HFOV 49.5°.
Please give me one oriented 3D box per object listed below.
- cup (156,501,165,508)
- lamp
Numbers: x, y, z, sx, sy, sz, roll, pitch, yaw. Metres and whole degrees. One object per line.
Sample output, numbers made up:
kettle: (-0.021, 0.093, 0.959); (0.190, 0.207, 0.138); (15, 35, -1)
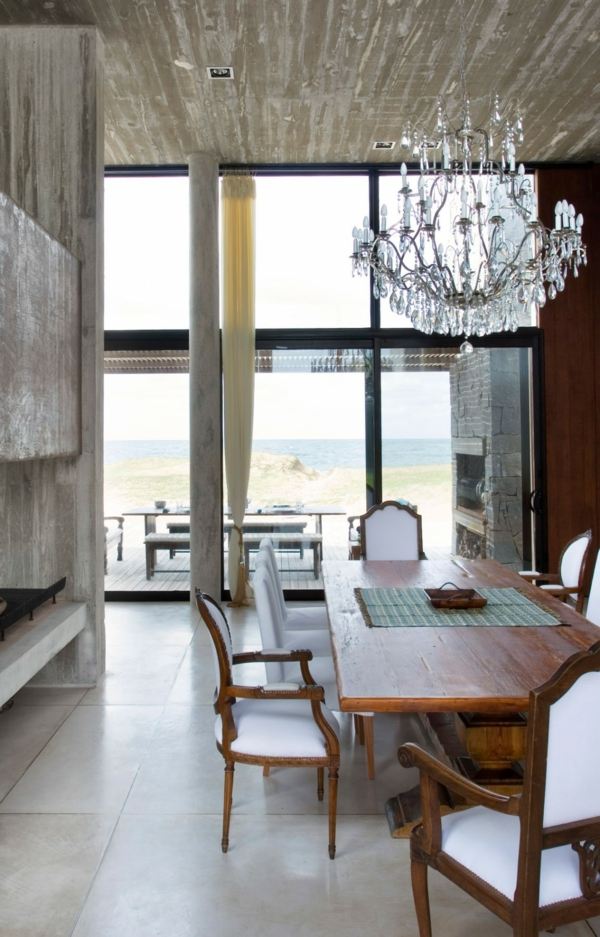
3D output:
cup: (-1.234, 0.305, 5.701); (0.053, 0.056, 0.062); (0, -3, -8)
lamp: (1.144, -1.689, 4.115); (1.230, 2.094, 1.412); (-3, 7, -17)
